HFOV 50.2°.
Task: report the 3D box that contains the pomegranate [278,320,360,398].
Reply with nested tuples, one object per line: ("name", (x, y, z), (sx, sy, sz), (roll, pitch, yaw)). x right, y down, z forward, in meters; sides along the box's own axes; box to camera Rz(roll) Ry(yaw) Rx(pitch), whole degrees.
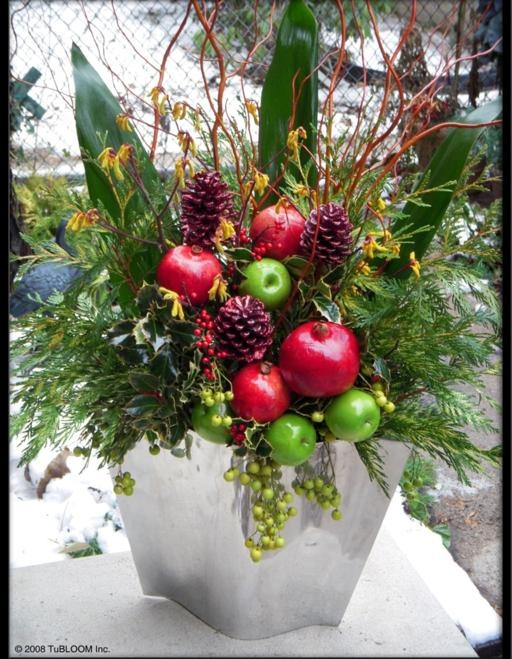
("pomegranate", (0.046, 0.022, 0.398), (0.057, 0.054, 0.031), (3, 8, 6))

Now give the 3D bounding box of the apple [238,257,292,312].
("apple", (0.008, -0.038, 0.433), (0.031, 0.040, 0.034), (-12, 22, -40))

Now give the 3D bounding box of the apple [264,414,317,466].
("apple", (0.024, 0.077, 0.420), (0.033, 0.038, 0.036), (17, 19, 41))

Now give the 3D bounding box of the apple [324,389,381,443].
("apple", (0.071, 0.064, 0.400), (0.042, 0.039, 0.035), (-2, 14, -22))

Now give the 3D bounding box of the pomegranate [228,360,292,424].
("pomegranate", (0.003, 0.048, 0.406), (0.043, 0.044, 0.025), (1, 8, -3))

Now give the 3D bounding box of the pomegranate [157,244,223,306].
("pomegranate", (-0.051, -0.045, 0.417), (0.048, 0.044, 0.040), (-4, 17, -14))
